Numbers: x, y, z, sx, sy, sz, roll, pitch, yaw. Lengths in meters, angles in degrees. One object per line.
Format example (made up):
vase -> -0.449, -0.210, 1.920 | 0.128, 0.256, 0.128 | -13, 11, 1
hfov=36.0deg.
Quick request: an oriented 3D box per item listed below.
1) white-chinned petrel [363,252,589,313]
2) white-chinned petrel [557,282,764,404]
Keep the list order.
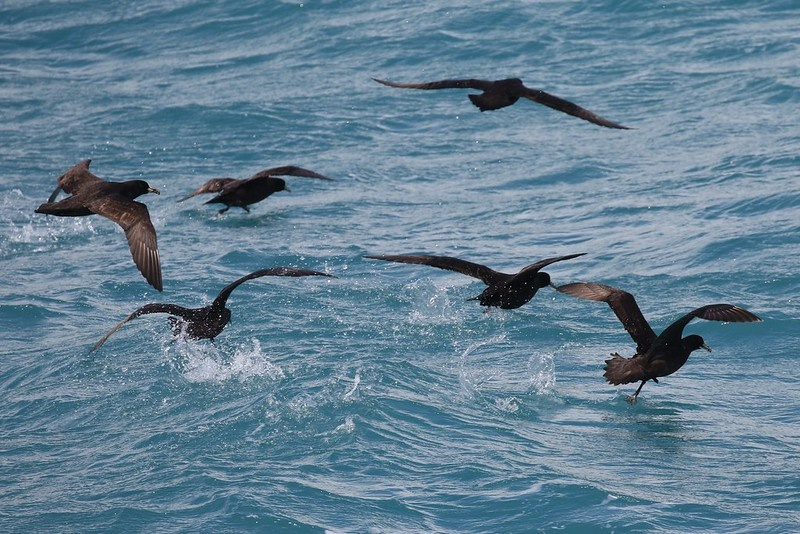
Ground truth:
white-chinned petrel -> 1.620, 0.230, 24.094 | 2.501, 1.225, 0.707 | 5, 46, 8
white-chinned petrel -> 4.873, 1.345, 23.876 | 3.239, 2.049, 1.186 | 12, 47, 15
